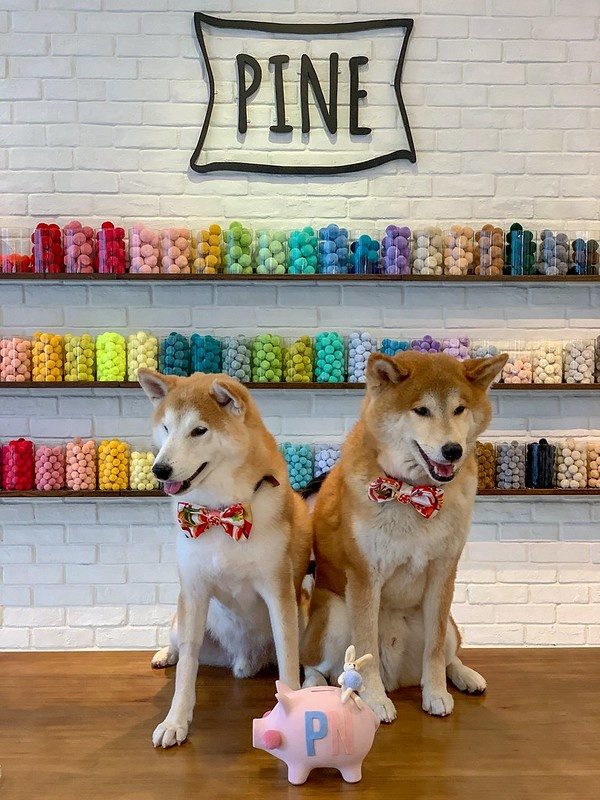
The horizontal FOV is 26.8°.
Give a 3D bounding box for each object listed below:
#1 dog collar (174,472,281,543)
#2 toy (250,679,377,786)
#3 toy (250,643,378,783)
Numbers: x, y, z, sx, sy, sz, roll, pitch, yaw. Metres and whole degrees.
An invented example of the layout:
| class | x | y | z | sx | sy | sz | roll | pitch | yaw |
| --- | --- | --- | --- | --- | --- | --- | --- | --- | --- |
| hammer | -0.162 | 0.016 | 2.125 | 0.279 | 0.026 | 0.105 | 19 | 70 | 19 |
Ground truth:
| class | x | y | z | sx | sy | sz | roll | pitch | yaw |
| --- | --- | --- | --- | --- | --- | --- | --- | --- | --- |
| dog collar | -0.189 | 0.266 | 3.095 | 0.184 | 0.092 | 0.227 | -2 | -4 | 7 |
| toy | 0.035 | 0.765 | 2.913 | 0.322 | 0.211 | 0.203 | 1 | 2 | -10 |
| toy | 0.029 | 0.736 | 2.904 | 0.318 | 0.251 | 0.195 | -1 | 1 | -7 |
